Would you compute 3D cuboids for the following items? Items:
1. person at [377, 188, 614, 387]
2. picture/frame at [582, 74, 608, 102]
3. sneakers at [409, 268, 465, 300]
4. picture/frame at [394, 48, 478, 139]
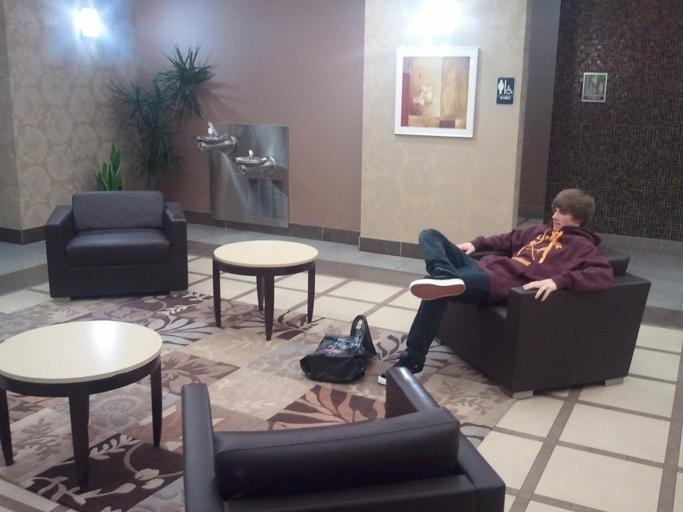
[{"bbox_3d":[1.009,0.171,3.534,1.228,1.480,1.086,13,8,2],"label":"person"},{"bbox_3d":[3.049,-2.042,6.350,0.305,0.370,0.041,8,20,28],"label":"picture/frame"},{"bbox_3d":[0.594,0.207,3.227,0.304,0.197,0.286,4,13,15],"label":"sneakers"},{"bbox_3d":[1.023,-1.733,5.533,0.945,0.943,0.035,6,12,21],"label":"picture/frame"}]
